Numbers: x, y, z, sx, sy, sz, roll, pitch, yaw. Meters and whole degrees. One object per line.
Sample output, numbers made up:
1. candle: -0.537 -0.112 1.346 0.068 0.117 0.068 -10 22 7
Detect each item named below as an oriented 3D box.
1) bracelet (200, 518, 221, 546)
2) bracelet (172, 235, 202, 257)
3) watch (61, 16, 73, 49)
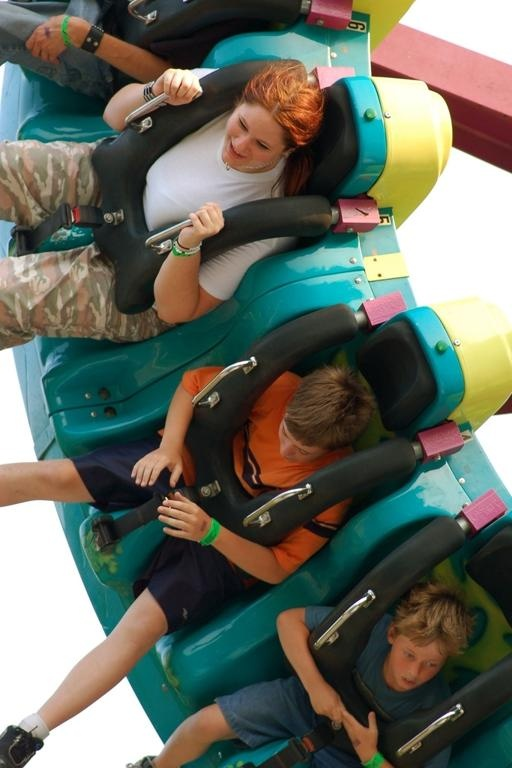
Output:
1. bracelet: -0.092 0.315 1.340 0.027 0.051 0.043 10 66 1
2. bracelet: -0.155 -0.306 1.399 0.049 0.022 0.038 -22 47 -24
3. watch: -0.536 -0.998 1.806 0.039 0.071 0.042 -11 44 -1
